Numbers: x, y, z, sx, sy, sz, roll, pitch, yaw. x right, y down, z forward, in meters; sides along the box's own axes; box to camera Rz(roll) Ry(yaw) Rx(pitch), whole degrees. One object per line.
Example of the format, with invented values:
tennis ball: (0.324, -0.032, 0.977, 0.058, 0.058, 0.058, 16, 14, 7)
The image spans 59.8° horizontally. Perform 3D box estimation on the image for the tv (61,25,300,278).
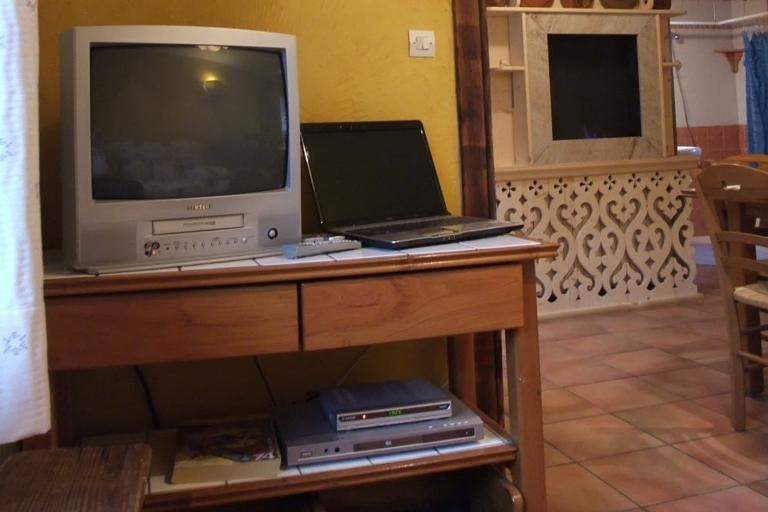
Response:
tv: (-0.559, -0.276, 1.785, 0.695, 0.649, 0.370, -2, 3, -26)

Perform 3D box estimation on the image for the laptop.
laptop: (0.049, -0.247, 2.111, 0.463, 0.360, 0.494, -9, 13, -27)

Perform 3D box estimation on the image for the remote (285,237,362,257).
remote: (-0.173, -0.030, 1.884, 0.145, 0.028, 0.079, -9, 12, -32)
